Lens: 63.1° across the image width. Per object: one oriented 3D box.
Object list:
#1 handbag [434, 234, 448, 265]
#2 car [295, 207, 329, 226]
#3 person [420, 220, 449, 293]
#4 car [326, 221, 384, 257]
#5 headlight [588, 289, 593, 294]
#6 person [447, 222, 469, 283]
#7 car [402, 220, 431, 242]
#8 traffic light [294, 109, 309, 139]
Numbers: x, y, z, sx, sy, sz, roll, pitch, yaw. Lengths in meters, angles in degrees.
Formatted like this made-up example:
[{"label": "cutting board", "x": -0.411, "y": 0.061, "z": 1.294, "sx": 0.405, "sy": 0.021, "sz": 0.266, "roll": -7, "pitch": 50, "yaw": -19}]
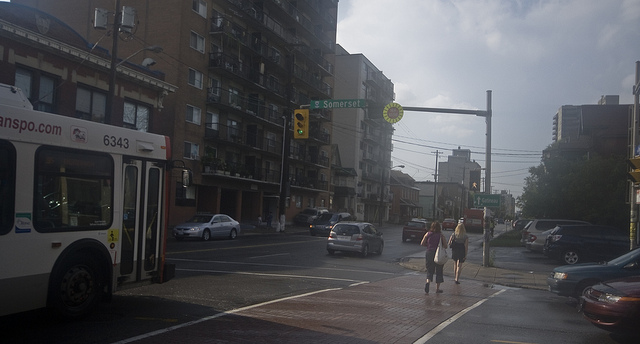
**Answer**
[{"label": "handbag", "x": 5.033, "y": 3.314, "z": 21.880, "sx": 0.466, "sy": 0.739, "sz": 0.528, "roll": 3, "pitch": 1, "yaw": 16}, {"label": "car", "x": -1.017, "y": 4.648, "z": 54.707, "sx": 3.154, "sy": 1.375, "sz": 1.644, "roll": 3, "pitch": 1, "yaw": 26}, {"label": "person", "x": 4.896, "y": 3.595, "z": 22.417, "sx": 1.216, "sy": 3.011, "sz": 1.138, "roll": 0, "pitch": -1, "yaw": 10}, {"label": "car", "x": 2.250, "y": 4.130, "z": 32.085, "sx": 3.465, "sy": 2.072, "sz": 1.762, "roll": 2, "pitch": 1, "yaw": -44}, {"label": "headlight", "x": 9.302, "y": 4.152, "z": 18.002, "sx": 0.182, "sy": 0.040, "sz": 0.060, "roll": -14, "pitch": -15, "yaw": -39}, {"label": "person", "x": 6.353, "y": 3.764, "z": 24.231, "sx": 1.144, "sy": 2.735, "sz": 1.072, "roll": 1, "pitch": -8, "yaw": 42}, {"label": "car", "x": 8.159, "y": 5.113, "z": 44.780, "sx": 2.182, "sy": 1.777, "sz": 1.855, "roll": 2, "pitch": 1, "yaw": 8}, {"label": "traffic light", "x": -1.149, "y": -2.961, "z": 31.214, "sx": 0.778, "sy": 1.708, "sz": 0.902, "roll": 2, "pitch": 1, "yaw": -10}]
